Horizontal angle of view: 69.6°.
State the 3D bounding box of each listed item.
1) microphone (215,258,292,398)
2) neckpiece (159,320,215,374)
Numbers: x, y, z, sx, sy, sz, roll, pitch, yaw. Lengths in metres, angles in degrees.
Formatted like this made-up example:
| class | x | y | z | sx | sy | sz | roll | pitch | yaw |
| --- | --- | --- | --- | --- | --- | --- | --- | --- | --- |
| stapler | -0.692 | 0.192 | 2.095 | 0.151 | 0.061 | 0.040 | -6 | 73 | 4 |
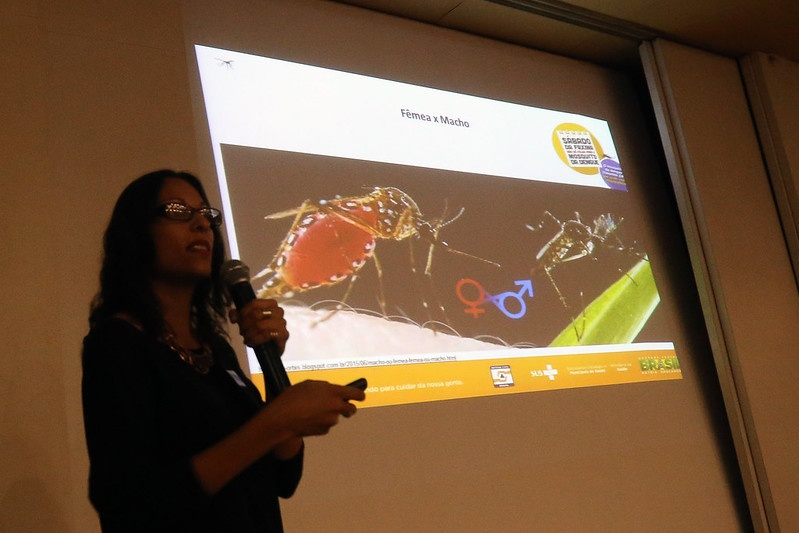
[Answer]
| class | x | y | z | sx | sy | sz | roll | pitch | yaw |
| --- | --- | --- | --- | --- | --- | --- | --- | --- | --- |
| microphone | -0.387 | 0.161 | 1.615 | 0.185 | 0.424 | 0.192 | 5 | -1 | -27 |
| neckpiece | -0.560 | 0.225 | 1.540 | 0.102 | 0.054 | 0.133 | 31 | -1 | 17 |
